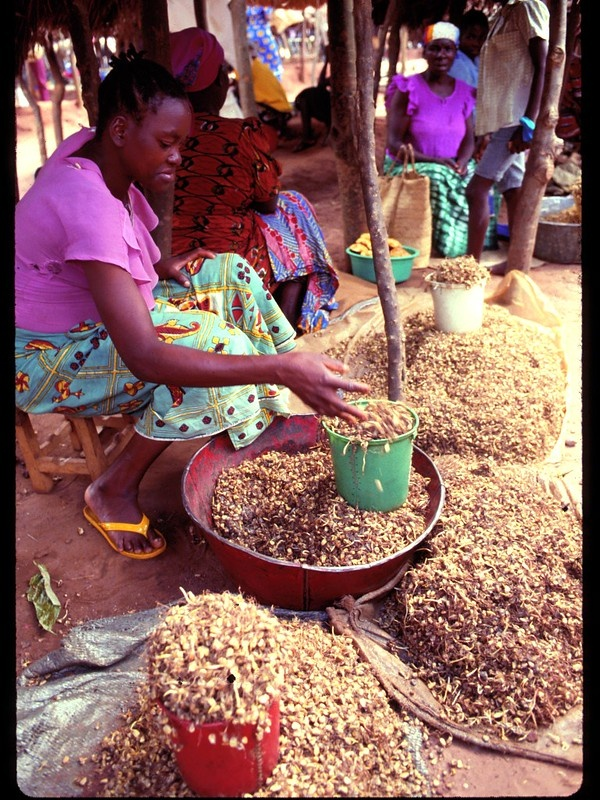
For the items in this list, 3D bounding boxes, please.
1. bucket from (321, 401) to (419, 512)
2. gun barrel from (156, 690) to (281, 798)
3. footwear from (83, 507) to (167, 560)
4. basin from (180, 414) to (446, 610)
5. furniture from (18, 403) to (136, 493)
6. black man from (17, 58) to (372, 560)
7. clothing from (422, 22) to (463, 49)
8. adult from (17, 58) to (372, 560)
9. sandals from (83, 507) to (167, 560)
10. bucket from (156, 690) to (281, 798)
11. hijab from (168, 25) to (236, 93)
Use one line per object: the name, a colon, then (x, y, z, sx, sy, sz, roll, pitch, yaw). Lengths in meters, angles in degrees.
bucket: (0.223, 0.148, 2.431, 0.398, 0.360, 0.346, -4, 32, -4)
gun barrel: (-0.184, 0.804, 1.555, 0.250, 0.175, 0.259, -2, 7, 0)
footwear: (-0.651, 0.483, 2.584, 0.318, 0.076, 0.137, 25, 41, 29)
basin: (-0.127, 0.457, 2.423, 0.778, 0.256, 0.739, 1, 26, -1)
furniture: (-0.906, 0.207, 2.829, 0.254, 0.331, 0.227, 2, 44, 2)
black man: (-0.363, -0.323, 2.478, 1.316, 1.612, 1.180, -6, 33, -19)
clothing: (1.115, -2.868, 5.393, 0.274, 0.154, 0.249, 2, 38, 8)
adult: (-0.303, -0.351, 2.507, 1.113, 1.501, 1.241, -26, 45, -38)
sandals: (-0.667, 0.483, 2.600, 0.318, 0.076, 0.137, 25, 41, 29)
bucket: (-0.168, 0.803, 1.555, 0.250, 0.175, 0.259, -2, 7, 0)
hijab: (-0.487, -1.667, 3.555, 0.317, 0.378, 0.313, 9, -1, 0)
